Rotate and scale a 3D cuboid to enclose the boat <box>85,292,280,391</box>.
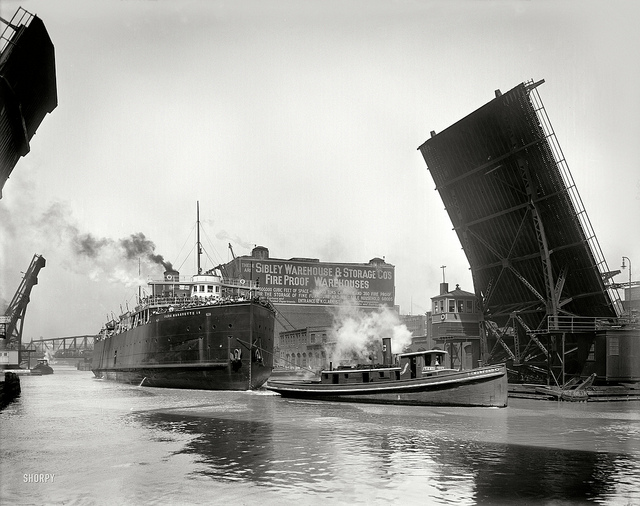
[{"bbox_3d":[-12.425,7.712,57.179,5.397,7.138,22.777,12,-16,-39],"label":"boat"}]
